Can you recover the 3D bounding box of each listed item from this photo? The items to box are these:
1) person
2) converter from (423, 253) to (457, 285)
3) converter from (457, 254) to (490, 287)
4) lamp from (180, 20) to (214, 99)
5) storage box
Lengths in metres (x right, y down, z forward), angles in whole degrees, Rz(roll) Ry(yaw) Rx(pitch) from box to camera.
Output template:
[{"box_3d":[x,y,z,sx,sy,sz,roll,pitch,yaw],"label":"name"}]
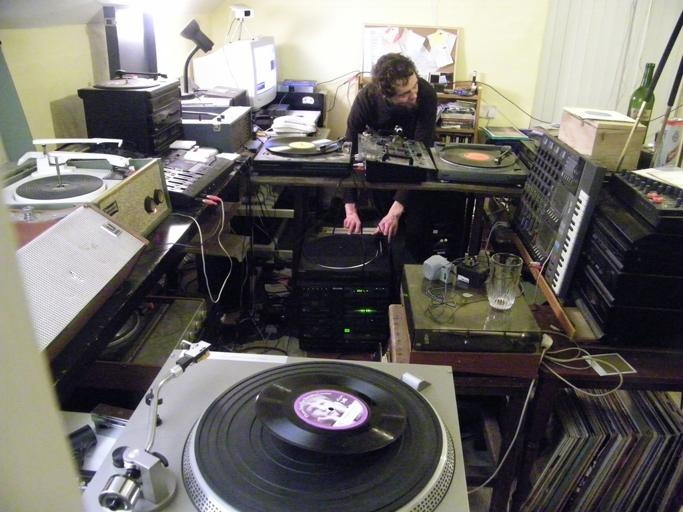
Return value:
[{"box_3d":[0.285,-0.652,3.162,0.460,1.196,0.754,19,42,17],"label":"person"},{"box_3d":[0.299,0.040,1.571,0.089,0.072,0.081,-9,29,-17],"label":"converter"},{"box_3d":[0.399,0.042,1.589,0.090,0.088,0.096,21,38,38],"label":"converter"},{"box_3d":[-0.958,-1.318,3.390,0.221,0.432,1.245,-6,29,-12],"label":"lamp"},{"box_3d":[0.837,-0.395,1.673,0.172,0.115,0.240,0,28,-9],"label":"storage box"}]
